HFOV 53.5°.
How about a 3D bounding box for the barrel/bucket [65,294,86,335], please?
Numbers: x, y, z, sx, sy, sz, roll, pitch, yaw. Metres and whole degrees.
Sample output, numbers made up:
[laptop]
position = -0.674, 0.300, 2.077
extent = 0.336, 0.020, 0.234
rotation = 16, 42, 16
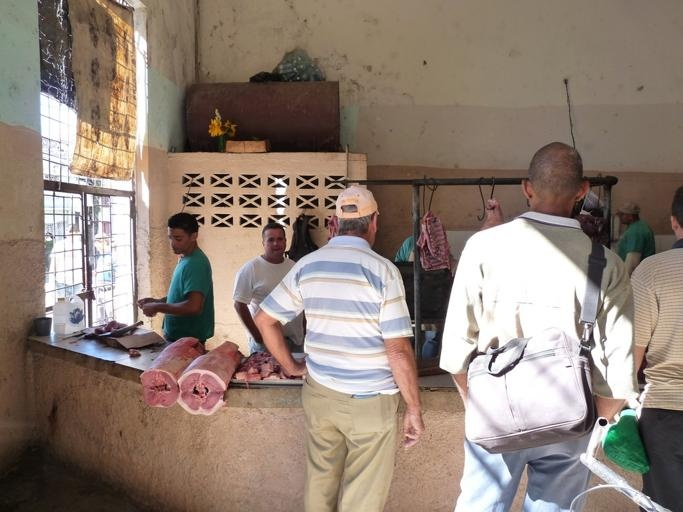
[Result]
[barrel/bucket]
position = -2.223, 0.486, 5.660
extent = 0.137, 0.289, 0.294
rotation = -1, 5, -22

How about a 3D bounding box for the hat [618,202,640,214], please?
[hat]
position = 3.254, -0.517, 7.686
extent = 0.166, 0.089, 0.121
rotation = 15, 18, 31

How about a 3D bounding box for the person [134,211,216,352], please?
[person]
position = -1.342, 0.211, 5.586
extent = 0.572, 1.111, 0.571
rotation = 0, 4, -13

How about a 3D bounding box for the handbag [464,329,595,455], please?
[handbag]
position = 1.083, 0.776, 3.813
extent = 0.618, 0.548, 0.290
rotation = -9, -10, 26

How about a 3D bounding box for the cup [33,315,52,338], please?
[cup]
position = -2.402, 0.573, 5.454
extent = 0.142, 0.129, 0.134
rotation = 1, 4, 0

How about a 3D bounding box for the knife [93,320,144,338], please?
[knife]
position = -1.807, 0.597, 5.459
extent = 0.176, 0.073, 0.234
rotation = -3, 5, 0

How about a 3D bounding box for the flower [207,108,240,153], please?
[flower]
position = -1.309, -1.365, 7.457
extent = 0.270, 0.461, 0.324
rotation = -4, 11, -34

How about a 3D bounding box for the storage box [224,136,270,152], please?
[storage box]
position = -1.041, -1.180, 7.394
extent = 0.494, 0.140, 0.100
rotation = 1, 4, 6
